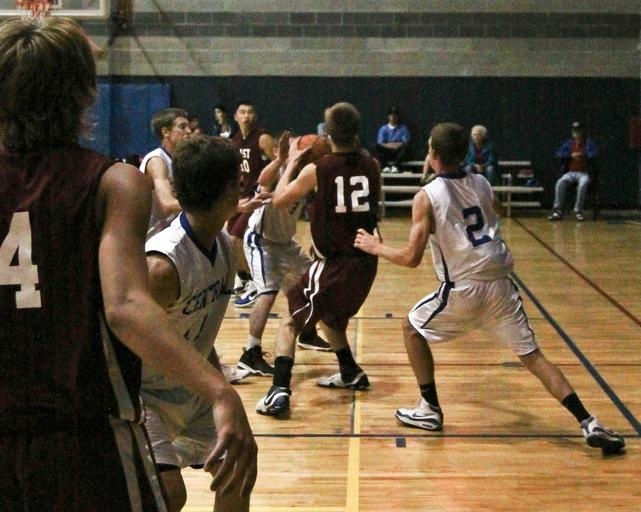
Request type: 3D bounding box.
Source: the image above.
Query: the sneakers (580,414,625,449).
[{"bbox_3d":[1.412,0.910,5.106,0.241,0.123,0.127,20,7,23],"label":"sneakers"}]

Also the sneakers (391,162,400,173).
[{"bbox_3d":[0.999,-1.189,13.673,0.099,0.154,0.328,-1,-3,6],"label":"sneakers"}]

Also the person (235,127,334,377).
[{"bbox_3d":[-0.203,-0.019,6.455,0.668,1.527,0.739,2,9,36],"label":"person"}]

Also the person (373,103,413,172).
[{"bbox_3d":[0.971,-1.562,13.746,0.567,1.308,0.736,0,7,6],"label":"person"}]

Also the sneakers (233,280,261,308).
[{"bbox_3d":[-0.592,0.318,8.193,0.131,0.204,0.435,10,10,9],"label":"sneakers"}]

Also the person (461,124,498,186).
[{"bbox_3d":[2.093,-1.250,13.359,0.329,0.978,0.524,-2,1,7],"label":"person"}]

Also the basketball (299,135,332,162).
[{"bbox_3d":[-0.037,-0.643,6.077,0.213,0.149,0.216,2,12,10],"label":"basketball"}]

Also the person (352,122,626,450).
[{"bbox_3d":[0.963,0.128,5.374,1.211,1.785,0.768,1,13,29],"label":"person"}]
